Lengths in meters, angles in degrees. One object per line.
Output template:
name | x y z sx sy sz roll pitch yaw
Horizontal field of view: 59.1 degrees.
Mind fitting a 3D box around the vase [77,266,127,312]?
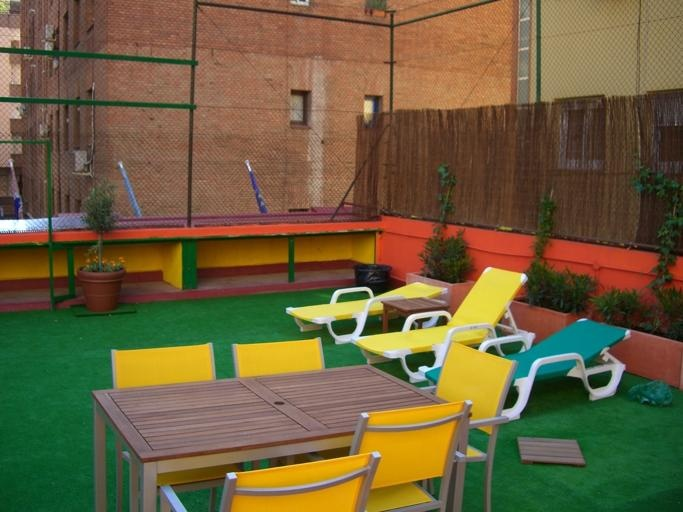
vase | -3.859 0.573 9.703 0.667 0.592 0.704 -1 0 2

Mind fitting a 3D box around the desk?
desk | -0.566 1.337 3.974 2.081 0.826 1.004 -3 9 -18

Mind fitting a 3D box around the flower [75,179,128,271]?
flower | -3.991 -0.503 9.970 0.590 1.466 1.387 -3 10 -21
